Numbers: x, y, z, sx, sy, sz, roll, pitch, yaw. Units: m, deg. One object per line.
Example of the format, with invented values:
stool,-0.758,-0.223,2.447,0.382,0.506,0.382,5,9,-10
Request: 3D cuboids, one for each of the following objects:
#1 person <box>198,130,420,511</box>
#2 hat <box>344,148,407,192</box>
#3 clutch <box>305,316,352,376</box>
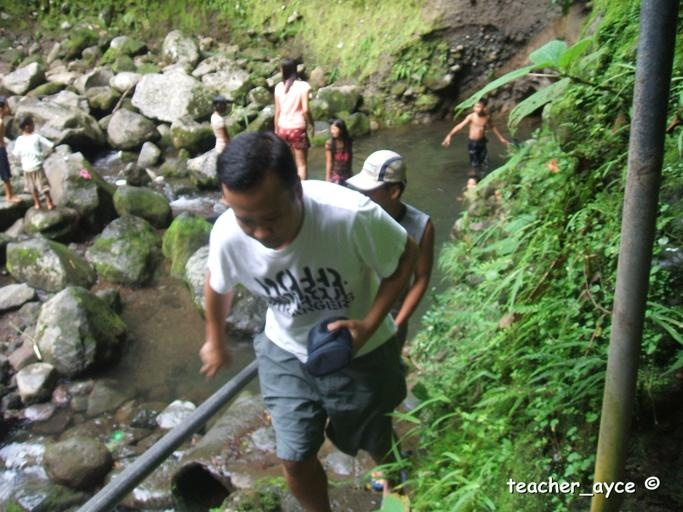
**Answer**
person,-0.149,0.316,3.572,1.247,2.034,0.892,-27,35,-10
hat,0.242,-0.597,4.378,0.368,0.197,0.252,-1,14,-6
clutch,-0.036,0.492,3.382,0.230,0.114,0.302,-14,46,41
